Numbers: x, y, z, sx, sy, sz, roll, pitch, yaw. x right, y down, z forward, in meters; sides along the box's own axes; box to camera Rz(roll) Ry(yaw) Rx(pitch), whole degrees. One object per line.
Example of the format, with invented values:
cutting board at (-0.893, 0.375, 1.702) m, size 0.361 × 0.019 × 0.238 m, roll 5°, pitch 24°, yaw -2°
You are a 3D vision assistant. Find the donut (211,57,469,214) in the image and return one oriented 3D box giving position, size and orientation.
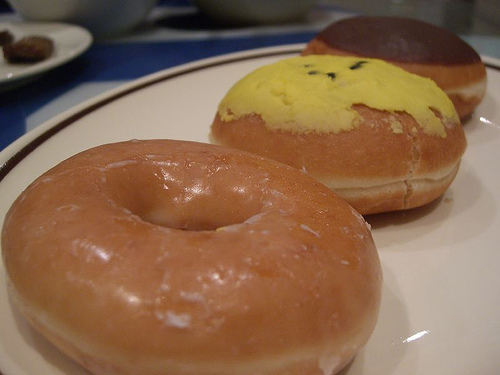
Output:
donut at (0.164, -0.115, 0.967) m, size 0.366 × 0.180 × 0.292 m, roll 16°, pitch 29°, yaw 18°

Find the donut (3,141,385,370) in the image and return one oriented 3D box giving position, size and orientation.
donut at (-0.078, 0.103, 0.775) m, size 0.533 × 0.203 × 0.340 m, roll 5°, pitch 44°, yaw 12°
